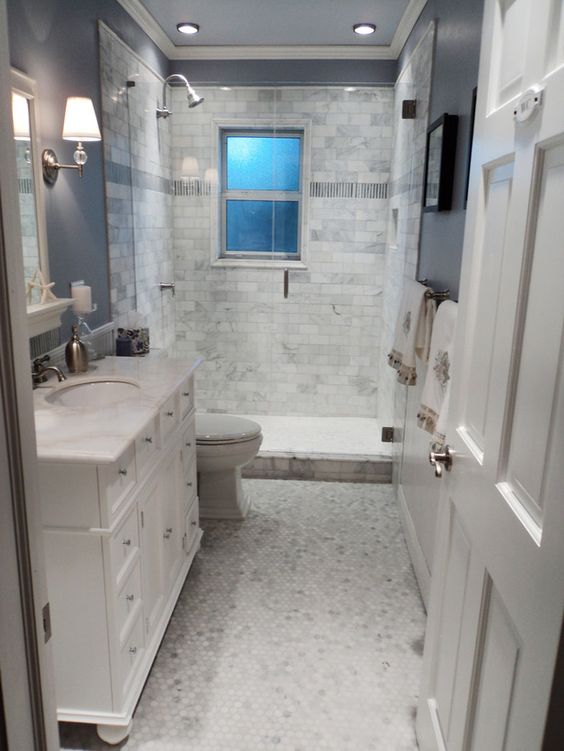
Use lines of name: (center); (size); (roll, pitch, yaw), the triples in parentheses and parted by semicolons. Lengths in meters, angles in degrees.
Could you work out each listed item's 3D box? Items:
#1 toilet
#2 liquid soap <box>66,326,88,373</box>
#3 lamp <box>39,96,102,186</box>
toilet: (-0.292, 0.502, 2.840); (0.337, 0.513, 0.409); (-1, 11, -10)
liquid soap: (-0.806, -0.100, 2.051); (0.086, 0.178, 0.079); (7, 12, 28)
lamp: (-0.832, -0.921, 2.074); (0.181, 0.342, 0.135); (1, 12, -11)
